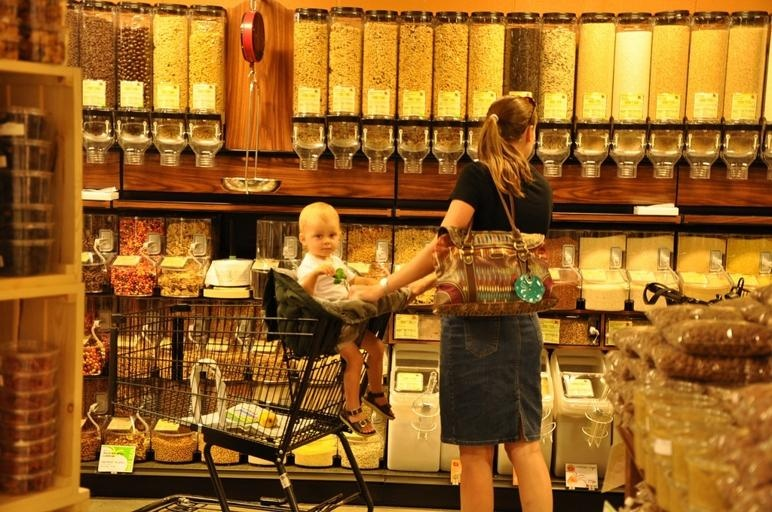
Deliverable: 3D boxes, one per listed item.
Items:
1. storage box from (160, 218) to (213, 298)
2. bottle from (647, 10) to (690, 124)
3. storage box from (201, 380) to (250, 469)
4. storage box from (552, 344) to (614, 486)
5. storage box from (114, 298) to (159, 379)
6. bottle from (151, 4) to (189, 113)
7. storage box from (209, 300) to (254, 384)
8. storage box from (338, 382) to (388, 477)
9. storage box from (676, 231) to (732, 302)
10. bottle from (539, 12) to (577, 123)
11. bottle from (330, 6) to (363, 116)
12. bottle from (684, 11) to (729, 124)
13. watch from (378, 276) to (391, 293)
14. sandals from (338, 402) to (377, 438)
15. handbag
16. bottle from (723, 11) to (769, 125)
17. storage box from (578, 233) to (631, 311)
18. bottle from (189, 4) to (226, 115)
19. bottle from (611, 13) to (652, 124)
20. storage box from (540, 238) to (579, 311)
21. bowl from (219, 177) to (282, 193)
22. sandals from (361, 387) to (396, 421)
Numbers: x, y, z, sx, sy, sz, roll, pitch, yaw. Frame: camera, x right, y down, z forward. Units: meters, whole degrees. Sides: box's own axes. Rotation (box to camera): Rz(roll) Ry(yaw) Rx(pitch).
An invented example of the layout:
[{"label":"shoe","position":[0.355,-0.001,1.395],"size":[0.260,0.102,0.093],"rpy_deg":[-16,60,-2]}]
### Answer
[{"label":"storage box","position":[-1.132,0.024,3.808],"size":[0.318,0.432,0.307],"rpy_deg":[-3,-13,13]},{"label":"bottle","position":[1.494,-0.987,3.550],"size":[0.185,0.598,0.098],"rpy_deg":[1,3,19]},{"label":"storage box","position":[-0.925,0.991,3.833],"size":[0.330,0.313,0.339],"rpy_deg":[-1,-1,14]},{"label":"storage box","position":[1.086,0.866,3.733],"size":[0.329,0.692,0.367],"rpy_deg":[1,3,9]},{"label":"storage box","position":[-1.149,0.419,3.191],"size":[0.215,0.314,0.382],"rpy_deg":[-3,-17,-9]},{"label":"bottle","position":[-1.174,-1.069,3.659],"size":[0.182,0.590,0.105],"rpy_deg":[0,3,-19]},{"label":"storage box","position":[-0.790,0.342,3.581],"size":[0.250,0.327,0.391],"rpy_deg":[-4,6,-12]},{"label":"storage box","position":[-0.128,1.004,3.695],"size":[0.197,0.568,0.208],"rpy_deg":[-13,0,-7]},{"label":"storage box","position":[1.764,0.097,3.727],"size":[0.285,0.431,0.260],"rpy_deg":[-2,22,3]},{"label":"bottle","position":[0.933,-0.994,3.594],"size":[0.218,0.594,0.133],"rpy_deg":[0,3,-4]},{"label":"bottle","position":[-0.214,-1.035,3.598],"size":[0.178,0.579,0.097],"rpy_deg":[0,3,-4]},{"label":"bottle","position":[1.696,-0.983,3.542],"size":[0.194,0.593,0.127],"rpy_deg":[2,3,22]},{"label":"watch","position":[-0.002,0.116,2.802],"size":[0.035,0.049,0.053],"rpy_deg":[21,51,35]},{"label":"sandals","position":[-0.151,0.745,3.062],"size":[0.208,0.092,0.097],"rpy_deg":[14,21,40]},{"label":"handbag","position":[0.434,-0.066,2.704],"size":[0.492,0.623,0.213],"rpy_deg":[0,-7,-8]},{"label":"bottle","position":[1.905,-0.981,3.531],"size":[0.218,0.589,0.074],"rpy_deg":[0,3,-3]},{"label":"storage box","position":[1.205,0.065,3.761],"size":[0.293,0.447,0.280],"rpy_deg":[-3,14,31]},{"label":"bottle","position":[-0.990,-1.073,3.698],"size":[0.189,0.607,0.126],"rpy_deg":[0,3,-17]},{"label":"bottle","position":[1.307,-0.988,3.567],"size":[0.190,0.589,0.143],"rpy_deg":[1,3,17]},{"label":"storage box","position":[0.973,0.105,3.707],"size":[0.269,0.370,0.243],"rpy_deg":[0,8,-4]},{"label":"bowl","position":[-0.749,-0.387,3.670],"size":[0.296,0.080,0.237],"rpy_deg":[-1,2,-26]},{"label":"sandals","position":[-0.036,0.687,3.197],"size":[0.210,0.087,0.078],"rpy_deg":[30,10,10]}]
